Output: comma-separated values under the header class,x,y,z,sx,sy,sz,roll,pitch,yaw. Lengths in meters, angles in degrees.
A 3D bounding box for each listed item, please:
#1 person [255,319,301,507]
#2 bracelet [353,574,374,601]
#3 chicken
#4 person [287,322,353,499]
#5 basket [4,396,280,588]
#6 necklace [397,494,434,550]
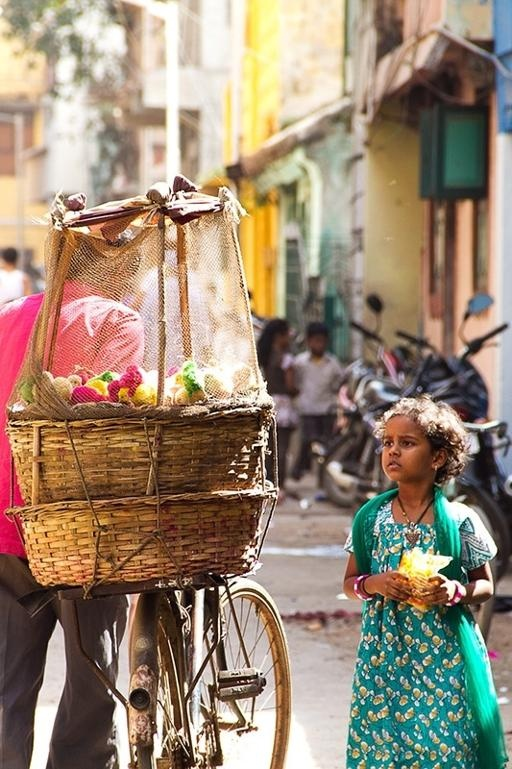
class,x,y,z,sx,sy,sz,roll,pitch,yaw
person,0.179,0.152,12.786,0.272,1.260,0.403,-8,16,-42
bracelet,0.311,0.590,4.809,0.026,0.062,0.069,-22,31,0
chicken,-0.282,-0.037,4.599,0.417,0.163,0.318,-4,10,-26
person,0.438,0.152,13.213,0.375,1.114,0.334,3,6,-39
basket,-0.299,0.304,4.513,0.743,0.495,0.262,1,6,-9
necklace,0.452,0.408,4.802,0.084,0.129,0.106,-2,7,-19
